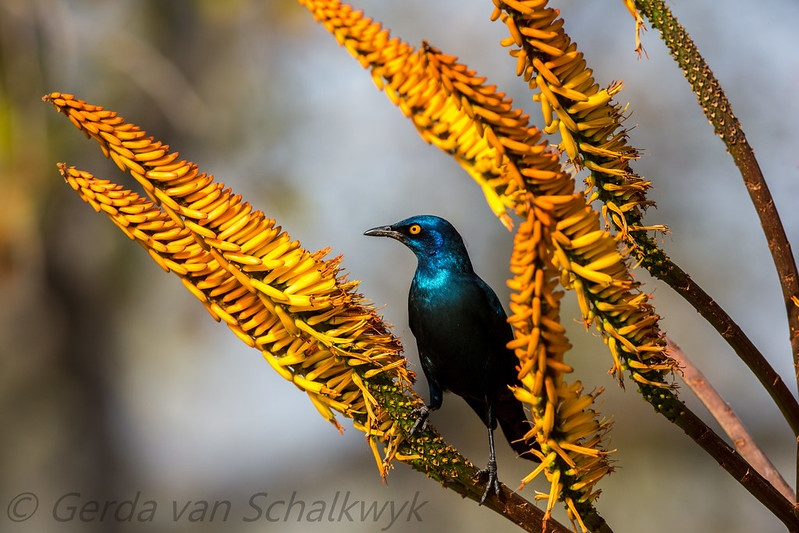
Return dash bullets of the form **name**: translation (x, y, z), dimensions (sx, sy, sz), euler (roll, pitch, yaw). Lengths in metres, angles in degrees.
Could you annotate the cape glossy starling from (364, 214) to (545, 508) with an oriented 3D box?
- **cape glossy starling**: translation (0.091, 0.164, 3.139), dimensions (0.453, 0.480, 0.365), euler (12, 13, 6)
